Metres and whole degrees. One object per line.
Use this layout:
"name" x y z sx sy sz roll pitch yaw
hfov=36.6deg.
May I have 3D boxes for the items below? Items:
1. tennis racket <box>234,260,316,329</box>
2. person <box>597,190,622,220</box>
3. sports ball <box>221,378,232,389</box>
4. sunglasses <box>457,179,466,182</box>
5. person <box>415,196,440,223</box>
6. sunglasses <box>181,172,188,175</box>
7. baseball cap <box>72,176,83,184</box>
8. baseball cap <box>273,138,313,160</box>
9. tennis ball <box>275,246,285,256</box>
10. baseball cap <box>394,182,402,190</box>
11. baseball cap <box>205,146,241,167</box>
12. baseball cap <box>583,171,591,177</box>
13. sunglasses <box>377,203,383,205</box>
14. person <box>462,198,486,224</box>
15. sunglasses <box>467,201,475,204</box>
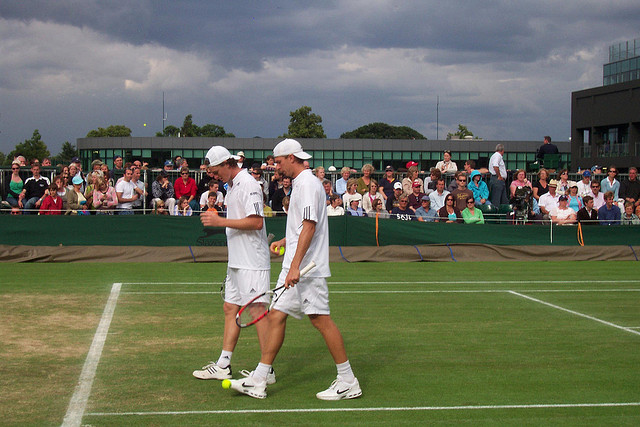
"tennis racket" -0.688 1.204 15.734 1.279 0.080 0.343 -25 -4 -29
"person" 7.814 -0.141 25.916 0.655 0.913 0.562 -5 7 -13
"sports ball" -1.479 2.674 15.286 0.146 0.130 0.168 7 -4 32
"sunglasses" 3.745 -0.899 25.452 0.164 0.079 0.130 2 14 4
"person" 2.841 -0.139 25.489 0.694 0.601 0.752 6 15 16
"sunglasses" -3.577 -1.082 25.502 0.133 0.059 0.072 -2 14 -13
"baseball cap" -6.233 -0.886 24.719 0.237 0.178 0.238 -3 14 -15
"baseball cap" -0.479 -1.024 15.327 0.518 0.224 0.307 0 4 -4
"tennis ball" -0.669 0.621 16.471 0.147 0.116 0.110 1 17 23
"baseball cap" 2.080 -0.768 25.894 0.136 0.183 0.185 0 -35 2
"baseball cap" -1.601 -0.965 15.793 0.460 0.214 0.282 -17 11 -15
"baseball cap" 7.392 -1.127 26.728 0.190 0.095 0.279 0 1 7
"sunglasses" 1.552 -0.285 25.128 0.144 0.032 0.025 -12 19 -43
"person" 4.083 -0.112 25.520 0.663 0.704 0.464 0 14 -6
"sunglasses" 3.957 -0.317 25.348 0.162 0.080 0.073 3 14 5
